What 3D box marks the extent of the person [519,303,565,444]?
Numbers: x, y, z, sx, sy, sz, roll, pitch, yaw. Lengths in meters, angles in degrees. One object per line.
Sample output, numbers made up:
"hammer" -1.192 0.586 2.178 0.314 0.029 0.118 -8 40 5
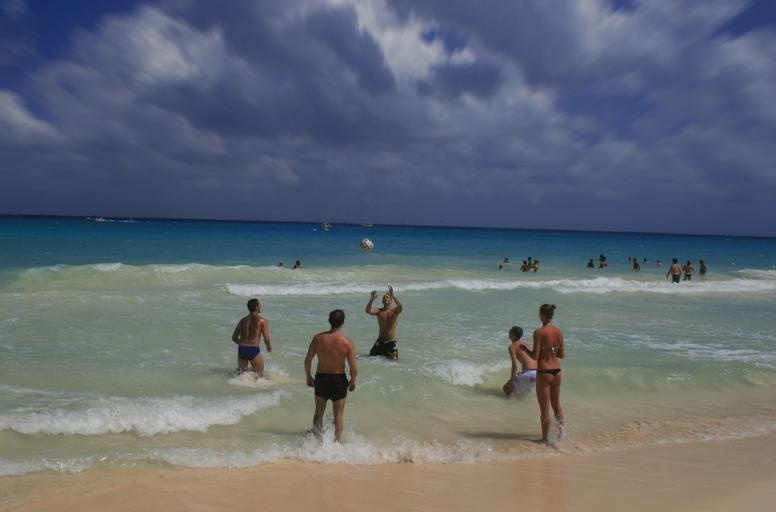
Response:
"person" 3.400 2.612 11.593 0.960 2.939 0.912 -1 0 -27
